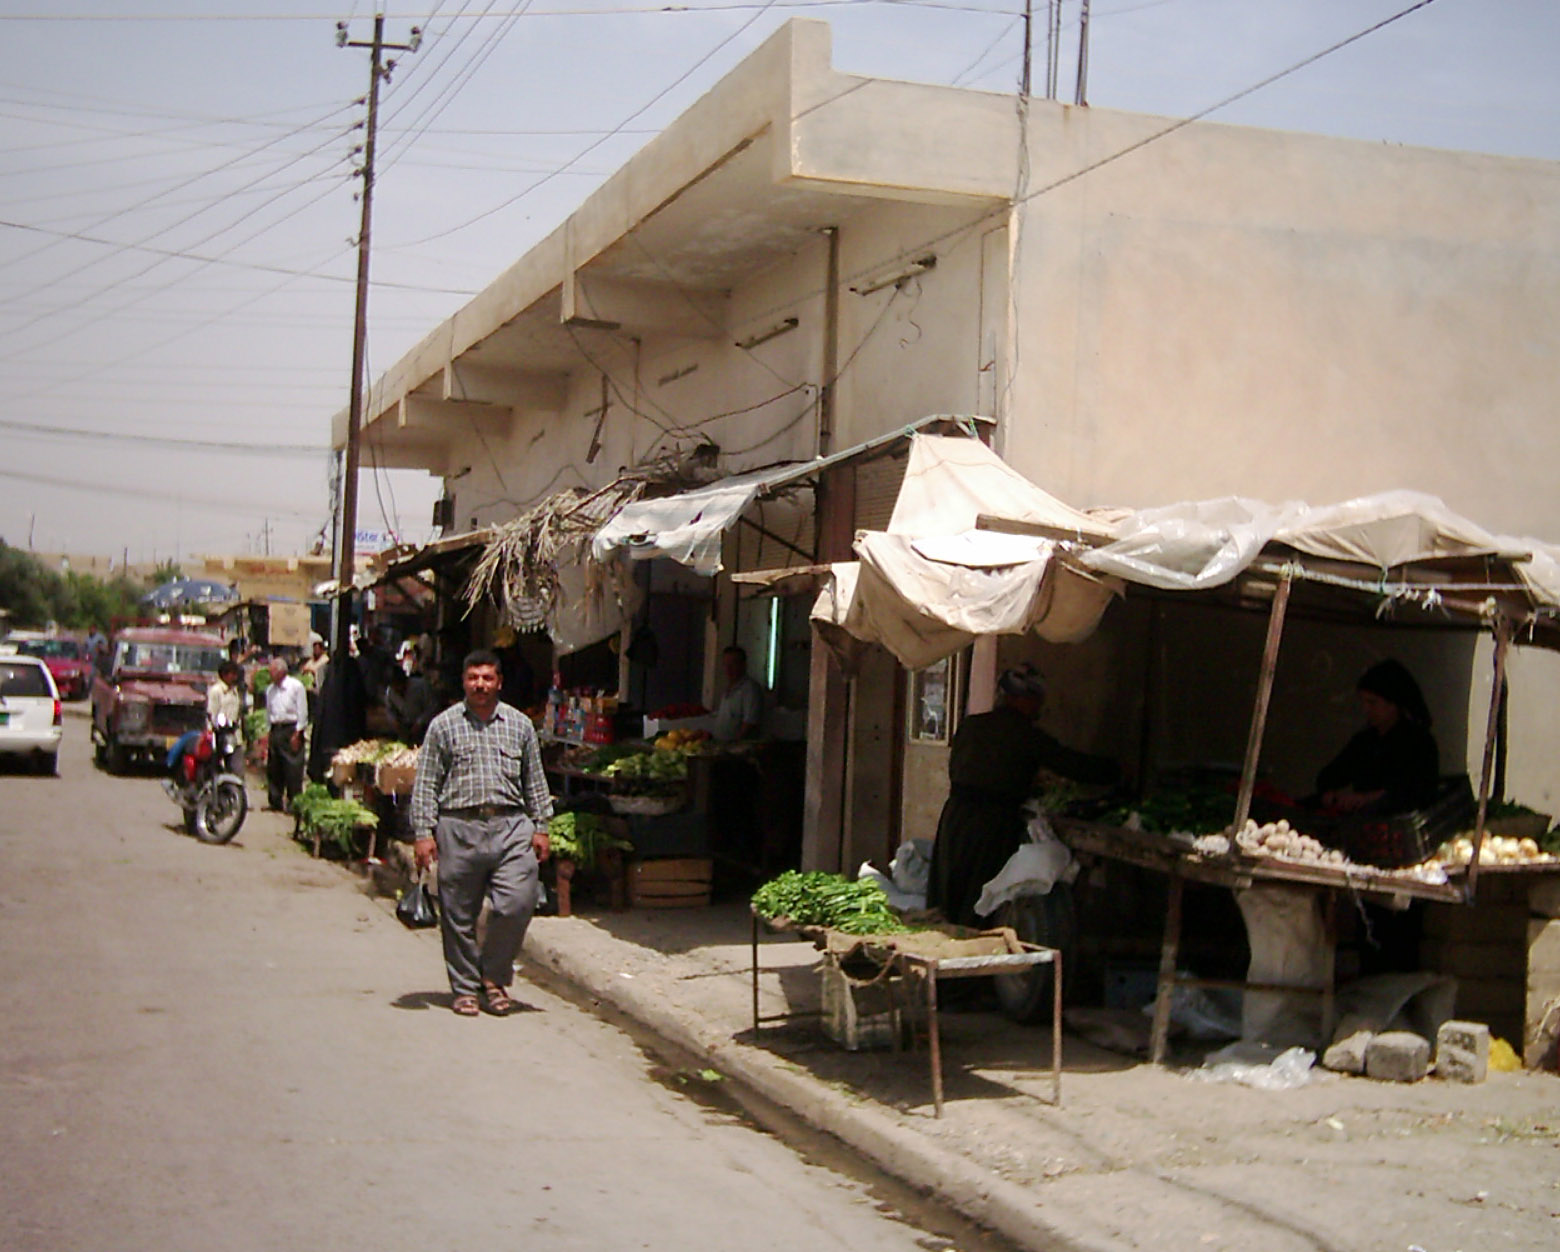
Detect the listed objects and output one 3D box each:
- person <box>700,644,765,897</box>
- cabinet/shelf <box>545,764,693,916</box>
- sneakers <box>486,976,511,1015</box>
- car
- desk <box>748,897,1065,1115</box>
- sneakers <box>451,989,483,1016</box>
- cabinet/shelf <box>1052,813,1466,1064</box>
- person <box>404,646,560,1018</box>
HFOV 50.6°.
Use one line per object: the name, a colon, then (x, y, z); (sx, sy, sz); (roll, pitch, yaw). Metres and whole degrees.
person: (-0.409, 1.254, 14.782); (0.527, 2.124, 0.785); (2, -4, -2)
cabinet/shelf: (-1.333, 1.789, 13.831); (1.238, 1.081, 0.892); (4, -5, -15)
sneakers: (-1.743, 2.262, 10.193); (0.172, 0.141, 0.496); (2, -4, -14)
car: (-9.317, 1.108, 25.268); (2.133, 2.111, 3.675); (1, -4, -23)
desk: (0.819, 2.081, 9.095); (0.920, 0.886, 1.558); (5, -5, -31)
sneakers: (-1.893, 2.271, 10.025); (0.174, 0.138, 0.169); (3, -5, -11)
cabinet/shelf: (2.782, 1.629, 9.465); (1.574, 1.042, 1.462); (4, -3, -17)
person: (-1.833, 1.252, 10.126); (0.850, 2.184, 0.523); (3, -4, -16)
